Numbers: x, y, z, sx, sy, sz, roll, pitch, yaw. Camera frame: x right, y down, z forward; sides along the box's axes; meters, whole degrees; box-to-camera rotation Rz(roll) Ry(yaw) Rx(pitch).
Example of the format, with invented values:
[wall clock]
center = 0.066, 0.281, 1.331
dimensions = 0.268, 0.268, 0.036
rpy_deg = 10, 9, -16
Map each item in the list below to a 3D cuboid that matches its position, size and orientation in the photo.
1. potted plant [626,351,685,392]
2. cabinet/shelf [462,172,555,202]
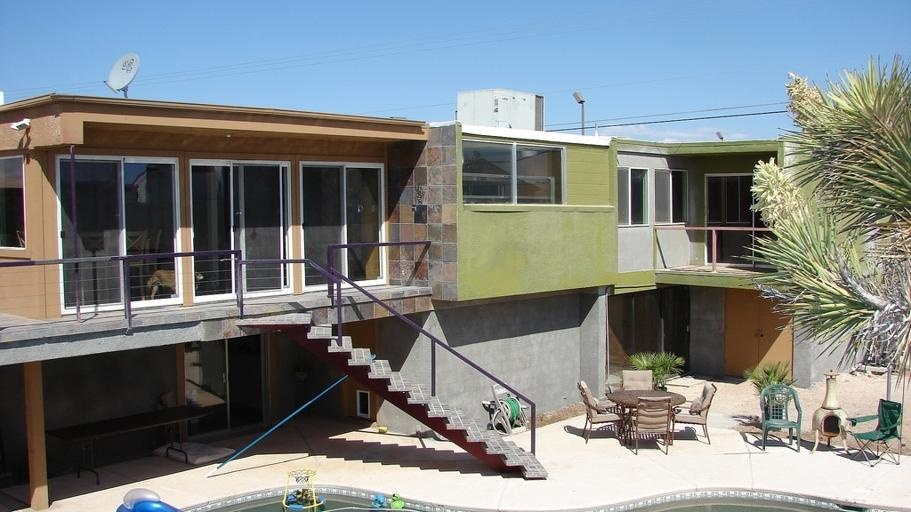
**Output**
[potted plant]
center = 7.306, 3.961, 26.255
dimensions = 1.984, 1.126, 1.881
rpy_deg = 0, -4, 19
[cabinet/shelf]
center = 1.673, -2.155, 23.204
dimensions = 3.318, 0.987, 0.589
rpy_deg = -5, 12, -23
